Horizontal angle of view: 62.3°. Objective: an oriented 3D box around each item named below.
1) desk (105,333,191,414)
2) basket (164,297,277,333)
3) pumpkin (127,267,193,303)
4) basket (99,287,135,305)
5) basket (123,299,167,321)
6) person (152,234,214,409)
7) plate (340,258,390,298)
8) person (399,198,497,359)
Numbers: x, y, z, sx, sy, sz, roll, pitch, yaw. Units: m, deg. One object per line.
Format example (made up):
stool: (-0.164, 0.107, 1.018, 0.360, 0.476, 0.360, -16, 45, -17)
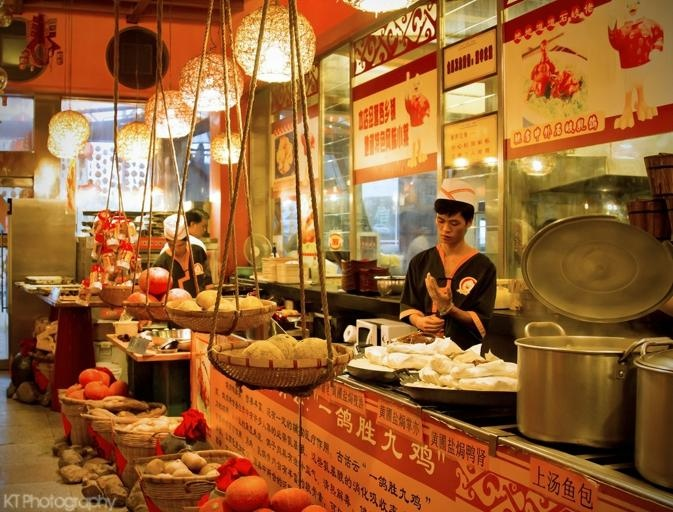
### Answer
desk: (-1.503, 0.935, 4.501, 0.614, 0.641, 0.629, 3, -6, -21)
basket: (-0.399, 0.243, 2.130, 0.393, 0.120, 0.344, 2, -3, -45)
pumpkin: (-1.052, 0.189, 3.286, 0.287, 0.224, 0.376, -4, 9, -32)
basket: (-1.319, 0.247, 3.330, 0.145, 0.132, 0.383, 1, -2, -29)
basket: (-0.916, 0.286, 2.813, 0.329, 0.104, 0.214, -1, -2, 35)
person: (-1.217, 0.365, 4.818, 0.593, 2.192, 0.645, -1, 7, -26)
plate: (0.243, 0.180, 4.717, 0.230, 0.285, 0.441, 2, -3, -44)
person: (0.608, 0.153, 2.997, 0.427, 0.892, 0.416, 1, 10, 1)
